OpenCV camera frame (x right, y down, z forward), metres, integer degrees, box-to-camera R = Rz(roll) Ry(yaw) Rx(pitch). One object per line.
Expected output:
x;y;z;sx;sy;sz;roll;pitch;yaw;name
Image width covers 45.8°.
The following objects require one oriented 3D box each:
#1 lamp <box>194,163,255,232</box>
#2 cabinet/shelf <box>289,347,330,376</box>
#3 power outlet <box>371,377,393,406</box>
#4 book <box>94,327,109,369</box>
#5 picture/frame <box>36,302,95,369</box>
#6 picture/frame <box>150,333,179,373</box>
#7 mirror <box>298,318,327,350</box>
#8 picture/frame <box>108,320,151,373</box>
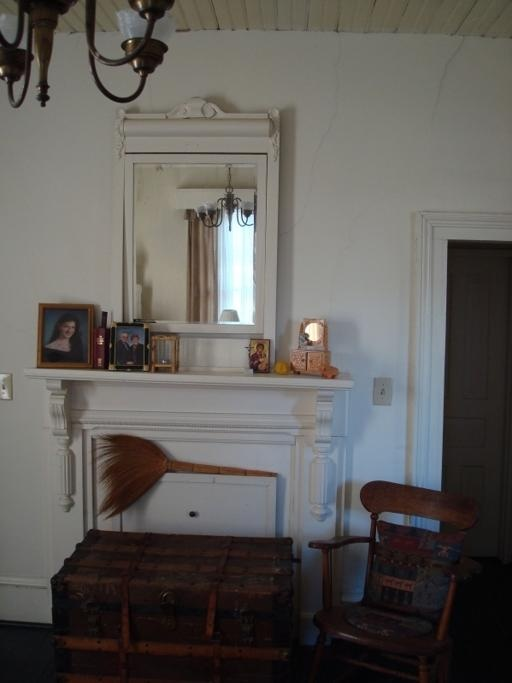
-0.138;-0.609;2.602;0.240;0.255;0.155;0;-4;-8;lamp
0.220;0.096;2.469;0.152;0.107;0.087;2;13;3;cabinet/shelf
0.548;0.214;2.641;0.114;0.164;0.022;1;2;-1;power outlet
-0.652;0.034;2.582;0.056;0.155;0.159;0;5;-3;book
-0.826;-0.016;2.653;0.268;0.333;0.022;1;-1;1;picture/frame
-0.383;0.053;2.577;0.143;0.202;0.145;1;6;-6;picture/frame
0.240;-0.025;2.519;0.124;0.142;0.049;1;-8;7;mirror
-0.517;0.031;2.517;0.200;0.240;0.039;0;-4;1;picture/frame
